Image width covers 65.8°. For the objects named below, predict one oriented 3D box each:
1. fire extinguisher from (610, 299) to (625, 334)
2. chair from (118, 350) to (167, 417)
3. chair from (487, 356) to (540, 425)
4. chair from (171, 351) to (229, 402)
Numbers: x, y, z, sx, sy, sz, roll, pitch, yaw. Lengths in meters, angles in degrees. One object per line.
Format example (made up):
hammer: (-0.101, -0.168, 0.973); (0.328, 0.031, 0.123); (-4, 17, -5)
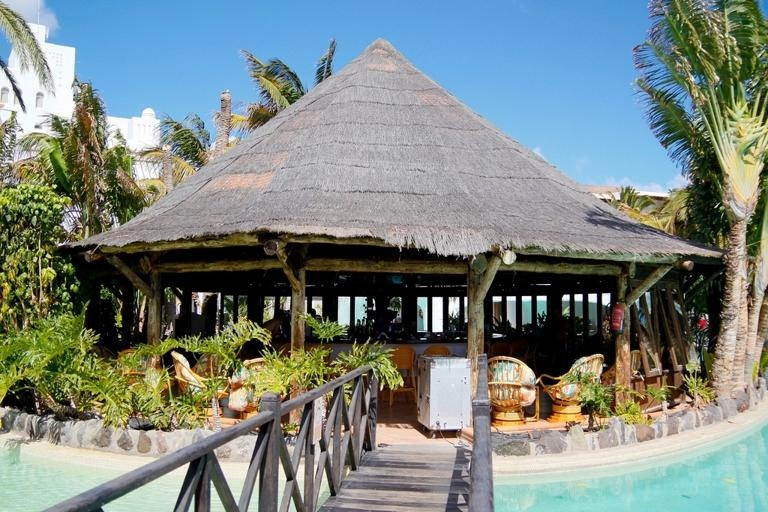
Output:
fire extinguisher: (5.621, 1.456, 14.247); (0.341, 0.740, 0.212); (-9, -14, 35)
chair: (-5.129, 2.679, 12.692); (0.977, 1.402, 1.373); (-4, -10, 20)
chair: (2.789, 2.998, 13.196); (1.177, 1.465, 1.245); (0, -14, 18)
chair: (-3.836, 2.502, 12.486); (1.141, 1.060, 0.951); (-1, -7, -16)
